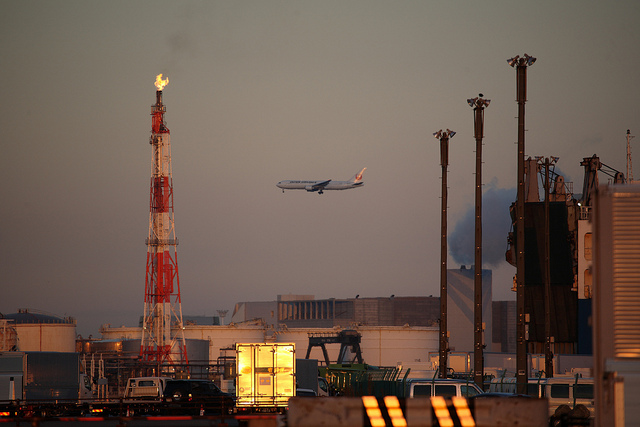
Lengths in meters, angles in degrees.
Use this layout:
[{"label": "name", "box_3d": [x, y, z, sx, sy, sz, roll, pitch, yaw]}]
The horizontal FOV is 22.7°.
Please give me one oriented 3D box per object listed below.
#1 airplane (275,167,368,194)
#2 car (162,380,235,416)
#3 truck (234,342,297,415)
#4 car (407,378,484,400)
[{"label": "airplane", "box_3d": [-0.048, -3.640, 220.024, 9.671, 3.164, 8.718, 3, -2, 0]}, {"label": "car", "box_3d": [-10.061, 15.665, 134.699, 3.565, 2.695, 6.162, -4, -8, 35]}, {"label": "truck", "box_3d": [-4.244, 13.164, 127.185, 4.621, 5.602, 1.231, -1, -11, -8]}, {"label": "car", "box_3d": [9.781, 13.716, 123.472, 6.744, 1.776, 3.408, -2, 3, 20]}]
